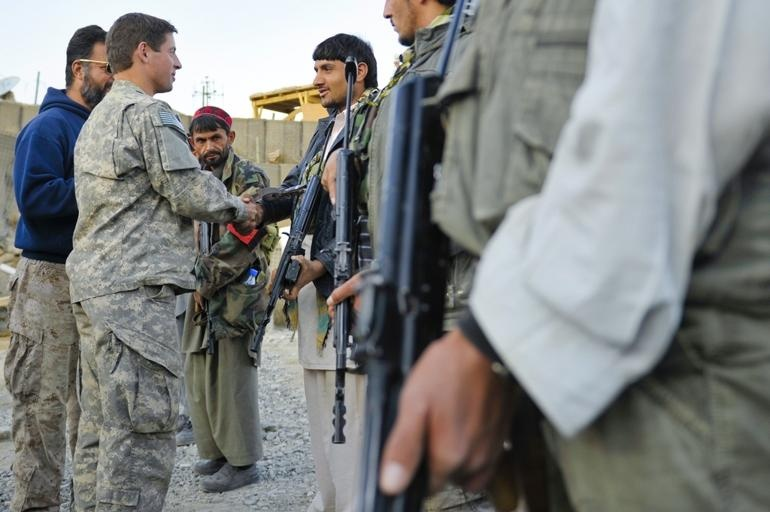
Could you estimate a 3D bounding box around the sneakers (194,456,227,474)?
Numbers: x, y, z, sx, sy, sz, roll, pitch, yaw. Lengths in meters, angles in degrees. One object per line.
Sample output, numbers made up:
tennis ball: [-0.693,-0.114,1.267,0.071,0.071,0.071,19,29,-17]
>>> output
sneakers: [-0.894,1.065,4.014,0.194,0.091,0.070,3,6,-10]

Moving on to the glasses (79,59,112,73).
glasses: [-1.342,-0.880,3.619,0.135,0.046,0.146,3,6,-7]

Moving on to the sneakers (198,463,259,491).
sneakers: [-0.746,1.065,3.772,0.286,0.137,0.105,-2,0,-42]

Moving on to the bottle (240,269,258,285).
bottle: [-0.681,0.100,3.862,0.040,0.078,0.044,14,-16,23]
